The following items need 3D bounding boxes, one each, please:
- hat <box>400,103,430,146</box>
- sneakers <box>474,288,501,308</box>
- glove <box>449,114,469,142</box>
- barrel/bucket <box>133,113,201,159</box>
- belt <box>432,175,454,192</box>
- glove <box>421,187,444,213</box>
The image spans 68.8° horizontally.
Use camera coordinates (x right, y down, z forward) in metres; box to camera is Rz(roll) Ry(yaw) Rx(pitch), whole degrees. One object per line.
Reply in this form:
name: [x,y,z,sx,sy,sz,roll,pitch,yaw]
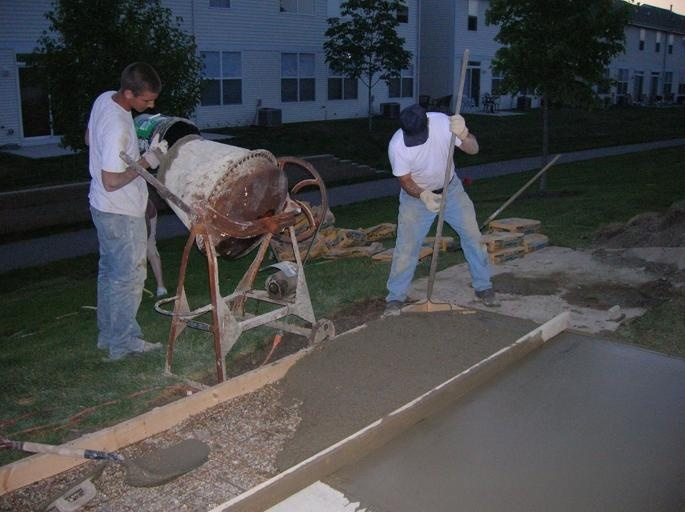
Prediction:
hat: [0.776,-1.405,5.424,0.306,0.438,0.279,-1,14,7]
sneakers: [1.724,0.502,6.000,0.137,0.160,0.342,-12,8,-26]
glove: [1.260,-1.395,5.457,0.200,0.282,0.439,1,14,12]
barrel/bucket: [-1.851,-1.308,5.125,0.743,0.526,0.510,19,19,34]
belt: [1.184,-0.826,5.865,0.153,0.194,0.204,25,54,-9]
glove: [0.999,-0.598,5.661,0.220,0.265,0.445,-3,14,-4]
